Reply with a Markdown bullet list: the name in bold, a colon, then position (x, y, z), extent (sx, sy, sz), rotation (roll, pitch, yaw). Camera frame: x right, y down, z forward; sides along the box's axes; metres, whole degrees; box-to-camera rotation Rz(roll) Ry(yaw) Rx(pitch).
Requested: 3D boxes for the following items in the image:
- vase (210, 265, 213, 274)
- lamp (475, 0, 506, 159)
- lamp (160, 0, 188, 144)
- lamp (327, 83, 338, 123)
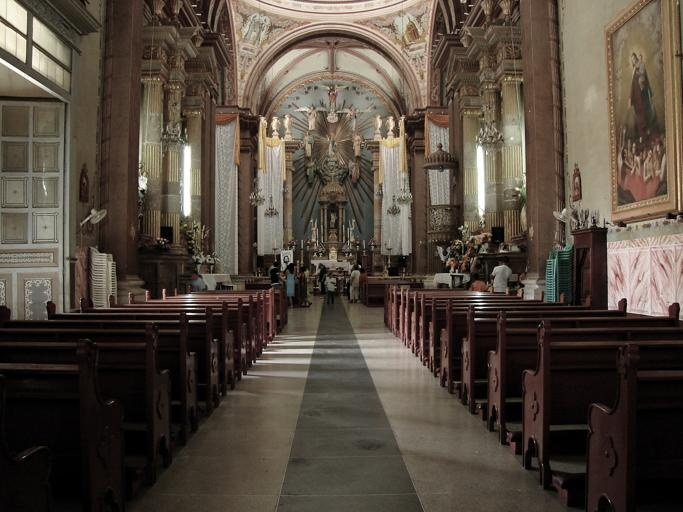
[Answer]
- **vase**: position (-3.475, 0.364, 18.663), extent (0.101, 0.232, 0.212), rotation (-1, -1, -3)
- **lamp**: position (3.533, -3.695, 16.824), extent (0.571, 2.460, 1.310), rotation (-1, -1, 12)
- **lamp**: position (-3.983, -4.219, 16.687), extent (0.551, 3.497, 2.406), rotation (0, -1, -13)
- **lamp**: position (-0.468, -7.528, 35.303), extent (0.543, 1.649, 1.291), rotation (-1, 0, -1)
